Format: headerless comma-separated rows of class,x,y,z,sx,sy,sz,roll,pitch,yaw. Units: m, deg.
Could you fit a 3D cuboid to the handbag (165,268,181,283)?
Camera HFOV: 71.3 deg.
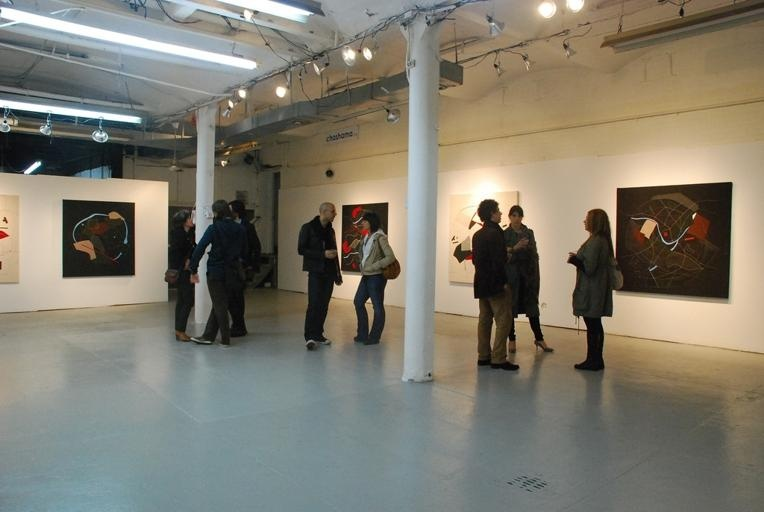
handbag,-3.255,0.307,8.309,0.266,0.244,0.138,2,-6,10

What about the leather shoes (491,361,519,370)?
leather shoes,1.620,1.458,7.099,0.372,0.156,0.127,-1,0,8

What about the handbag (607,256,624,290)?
handbag,3.111,0.228,7.088,0.142,0.418,0.344,3,4,28

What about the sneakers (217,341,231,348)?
sneakers,-2.357,1.320,7.942,0.160,0.106,0.100,3,-6,-42

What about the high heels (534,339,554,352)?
high heels,2.472,1.364,8.065,0.117,0.183,0.346,4,-9,-29

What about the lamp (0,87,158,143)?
lamp,-6.395,-2.736,10.986,2.420,0.611,2.104,-1,4,-29

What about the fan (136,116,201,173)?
fan,-5.513,-2.776,13.815,1.908,0.851,1.702,0,5,22

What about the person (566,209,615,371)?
person,2.783,0.449,7.113,0.569,2.139,0.453,3,3,20

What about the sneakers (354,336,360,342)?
sneakers,-0.409,1.314,8.486,0.062,0.112,0.115,-4,5,-42

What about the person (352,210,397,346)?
person,-0.110,0.337,8.441,0.650,2.050,0.748,1,3,-4

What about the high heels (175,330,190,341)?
high heels,-3.119,1.270,8.365,0.113,0.141,0.329,7,-8,-43

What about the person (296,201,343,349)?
person,-0.950,0.287,8.099,0.598,2.162,0.374,0,3,-30

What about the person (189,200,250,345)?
person,-2.503,0.265,8.040,0.786,2.195,0.604,0,3,-27

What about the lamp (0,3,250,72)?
lamp,-3.637,-3.203,7.742,2.584,0.181,0.250,7,15,-25

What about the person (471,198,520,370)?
person,1.470,0.383,7.027,0.617,2.241,0.631,2,3,13

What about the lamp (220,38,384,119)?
lamp,-1.365,-3.170,9.446,0.331,0.703,2.646,-26,7,-43
